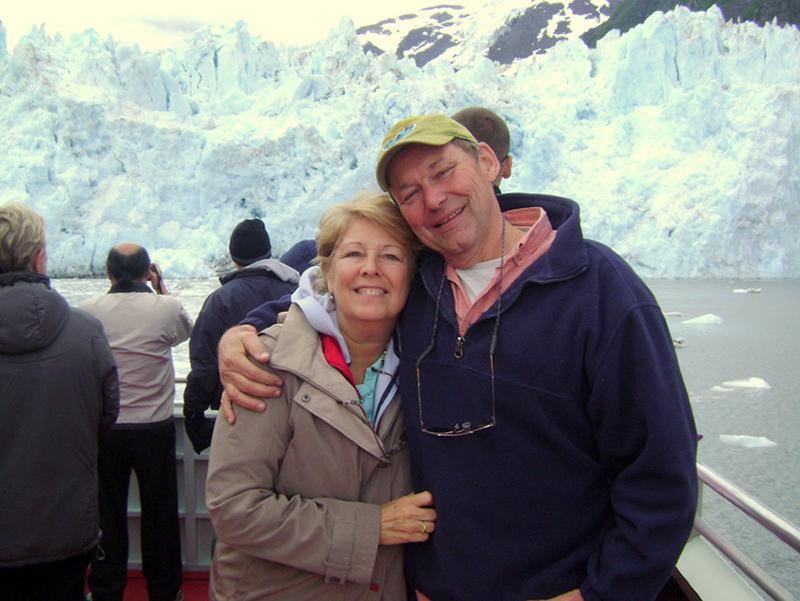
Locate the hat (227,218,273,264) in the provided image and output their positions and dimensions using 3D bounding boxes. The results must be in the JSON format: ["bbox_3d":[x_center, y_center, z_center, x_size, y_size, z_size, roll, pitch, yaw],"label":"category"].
[{"bbox_3d":[-0.933,-0.365,4.517,0.288,0.267,0.261,3,12,11],"label":"hat"}]

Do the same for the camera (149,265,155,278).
[{"bbox_3d":[-1.489,-0.184,4.557,0.038,0.050,0.019,7,5,33],"label":"camera"}]
